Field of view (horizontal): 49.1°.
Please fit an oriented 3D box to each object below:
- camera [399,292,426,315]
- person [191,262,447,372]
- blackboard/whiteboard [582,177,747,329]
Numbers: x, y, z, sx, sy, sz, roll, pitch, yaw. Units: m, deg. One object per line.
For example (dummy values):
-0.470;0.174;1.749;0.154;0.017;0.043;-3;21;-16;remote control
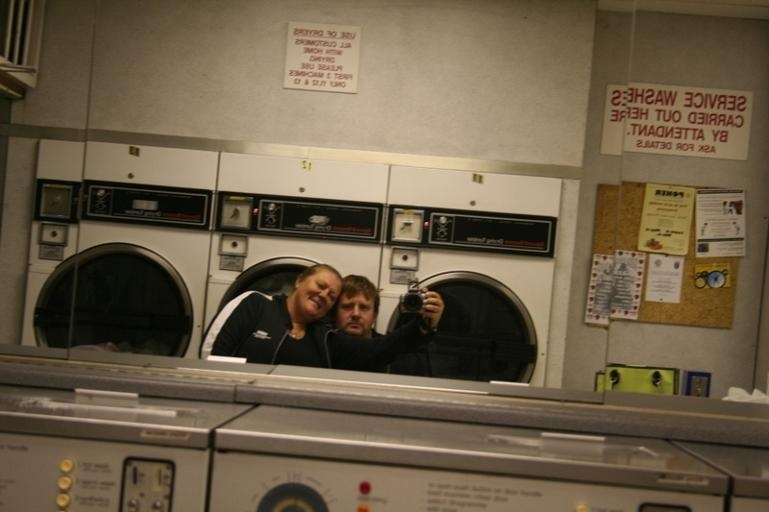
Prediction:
0.120;0.203;3.648;0.102;0.093;0.092;2;-5;6;camera
-0.259;0.257;3.655;1.008;0.434;0.208;3;-1;3;person
1.217;-0.019;3.767;0.711;0.643;0.036;2;1;-8;blackboard/whiteboard
